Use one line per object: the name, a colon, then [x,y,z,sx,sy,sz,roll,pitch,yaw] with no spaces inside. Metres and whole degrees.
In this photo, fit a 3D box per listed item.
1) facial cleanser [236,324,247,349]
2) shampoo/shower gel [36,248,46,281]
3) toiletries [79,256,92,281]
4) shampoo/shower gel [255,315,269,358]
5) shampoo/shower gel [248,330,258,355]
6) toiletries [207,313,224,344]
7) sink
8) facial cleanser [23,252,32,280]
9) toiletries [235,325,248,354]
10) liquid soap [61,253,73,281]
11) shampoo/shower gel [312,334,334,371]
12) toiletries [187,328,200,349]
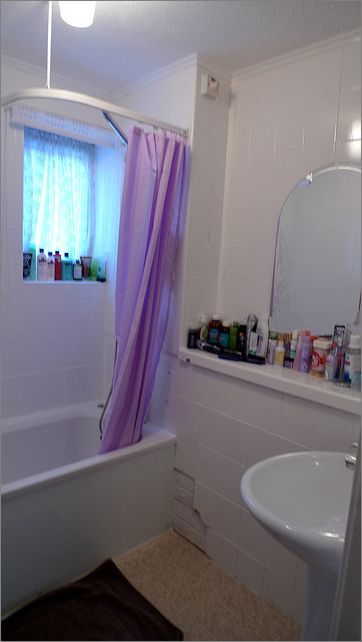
facial cleanser: [0.292,0.076,1.858,0.035,0.170,0.079,0,6,-3]
shampoo/shower gel: [-0.813,-0.324,2.241,0.054,0.179,0.027,0,7,-32]
toiletries: [-0.620,-0.334,2.480,0.042,0.195,0.087,16,20,37]
shampoo/shower gel: [0.370,0.083,1.804,0.064,0.197,0.024,10,-19,-2]
shampoo/shower gel: [0.340,0.105,1.820,0.050,0.131,0.057,6,12,9]
toiletries: [0.169,0.040,1.953,0.075,0.226,0.098,3,8,2]
sink: [0.244,0.363,0.751,0.177,0.128,0.250,1,4,-5]
facial cleanser: [-0.868,-0.306,2.172,0.052,0.148,0.032,-1,8,-40]
toiletries: [0.297,0.086,1.852,0.041,0.125,0.060,1,7,-21]
liquid soap: [-0.705,-0.330,2.375,0.074,0.164,0.028,1,7,-26]
shampoo/shower gel: [0.558,0.130,1.515,0.060,0.157,0.069,13,18,29]
toiletries: [0.060,0.095,1.937,0.048,0.104,0.080,1,15,-6]
